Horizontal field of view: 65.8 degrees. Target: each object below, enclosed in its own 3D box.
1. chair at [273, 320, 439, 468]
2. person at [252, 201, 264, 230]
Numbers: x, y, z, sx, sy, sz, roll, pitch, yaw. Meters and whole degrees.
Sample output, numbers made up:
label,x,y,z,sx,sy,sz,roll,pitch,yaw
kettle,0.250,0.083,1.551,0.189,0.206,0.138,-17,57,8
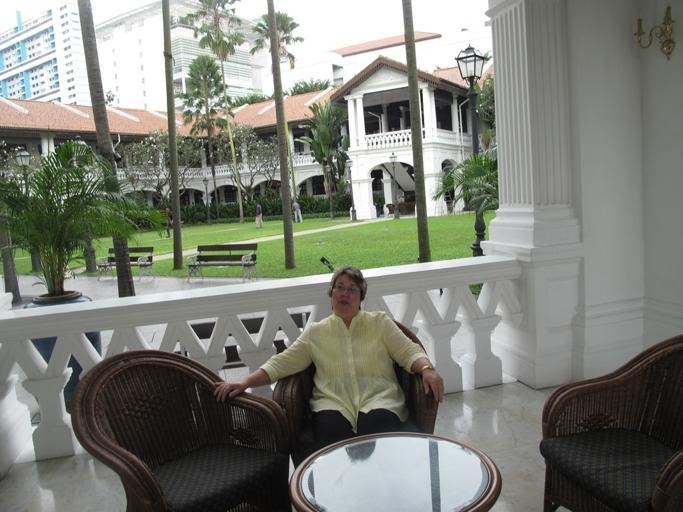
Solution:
label,x,y,z,sx,sy,sz,roll,pitch,yaw
chair,0.078,0.828,3.509,0.694,0.949,0.818,-14,3,3
person,-4.676,-2.263,30.084,0.348,1.299,1.941,-5,6,-9
